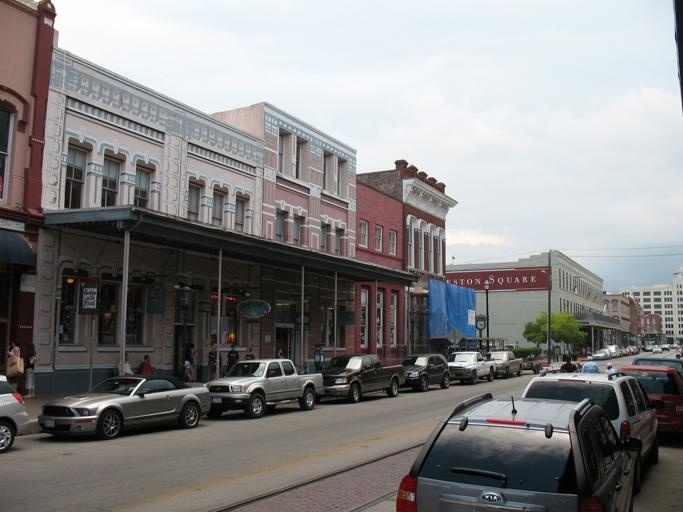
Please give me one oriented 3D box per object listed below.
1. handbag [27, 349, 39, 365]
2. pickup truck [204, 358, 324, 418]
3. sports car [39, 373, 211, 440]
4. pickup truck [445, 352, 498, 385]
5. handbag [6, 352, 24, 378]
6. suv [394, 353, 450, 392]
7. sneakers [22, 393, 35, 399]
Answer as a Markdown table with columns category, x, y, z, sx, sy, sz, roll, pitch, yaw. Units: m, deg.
| category | x | y | z | sx | sy | sz | roll | pitch | yaw |
| --- | --- | --- | --- | --- | --- | --- | --- | --- | --- |
| handbag | -10.196 | 3.334 | 21.477 | 0.306 | 0.608 | 0.378 | 3 | -1 | -31 |
| pickup truck | -2.637 | 4.696 | 23.332 | 2.263 | 1.902 | 4.877 | -6 | -9 | 33 |
| sports car | -5.950 | 4.212 | 18.500 | 2.159 | 1.620 | 4.869 | -7 | -11 | 29 |
| pickup truck | 7.409 | 6.347 | 37.340 | 1.484 | 1.309 | 3.224 | -7 | -16 | 26 |
| handbag | -10.343 | 3.496 | 20.681 | 0.457 | 0.781 | 0.680 | 3 | -2 | -29 |
| suv | 3.996 | 5.864 | 32.664 | 1.857 | 1.875 | 3.672 | -10 | -11 | 34 |
| sneakers | -10.280 | 4.631 | 21.499 | 0.414 | 0.184 | 0.146 | -7 | -11 | 31 |
